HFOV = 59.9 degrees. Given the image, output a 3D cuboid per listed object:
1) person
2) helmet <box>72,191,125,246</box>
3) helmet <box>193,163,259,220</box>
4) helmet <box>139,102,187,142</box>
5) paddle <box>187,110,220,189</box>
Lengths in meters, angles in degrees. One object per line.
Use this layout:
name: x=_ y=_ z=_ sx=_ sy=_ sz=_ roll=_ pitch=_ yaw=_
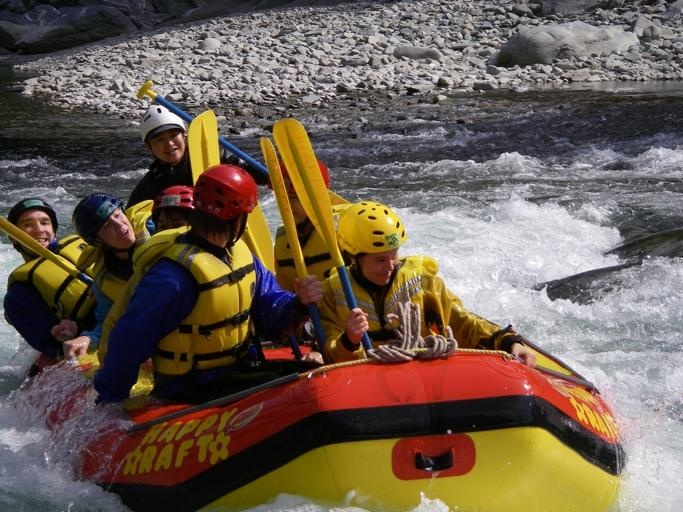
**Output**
person: x=-0.542 y=0.146 z=3.172 sx=1.505 sy=0.826 sz=2.618 roll=-3 pitch=0 yaw=-44
helmet: x=-1.405 y=-0.229 z=3.512 sx=0.295 sy=0.284 sz=0.256 roll=30 pitch=46 yaw=29
helmet: x=-0.570 y=-0.322 z=2.976 sx=0.300 sy=0.257 sz=0.209 roll=-25 pitch=31 yaw=-38
helmet: x=-1.541 y=-1.116 z=4.990 sx=0.328 sy=0.267 sz=0.354 roll=-26 pitch=27 yaw=-2
paddle: x=-1.007 y=-0.718 z=4.312 sx=0.280 sy=0.655 sz=0.118 roll=-9 pitch=20 yaw=-30
